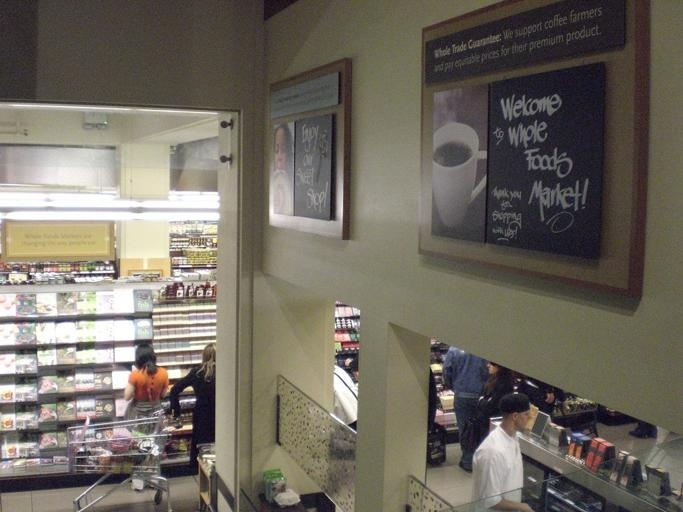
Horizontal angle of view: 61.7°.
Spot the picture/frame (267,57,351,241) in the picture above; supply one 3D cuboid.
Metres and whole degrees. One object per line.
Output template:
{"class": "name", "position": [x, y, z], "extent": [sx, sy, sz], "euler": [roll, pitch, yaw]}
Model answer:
{"class": "picture/frame", "position": [-0.190, -0.688, 3.649], "extent": [0.063, 1.102, 1.237], "euler": [0, 2, -21]}

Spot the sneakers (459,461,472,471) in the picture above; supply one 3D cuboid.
{"class": "sneakers", "position": [1.381, 2.328, 6.327], "extent": [0.087, 0.135, 0.133], "euler": [-3, 4, -22]}

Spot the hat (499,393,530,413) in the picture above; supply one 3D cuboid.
{"class": "hat", "position": [1.254, 1.046, 4.079], "extent": [0.165, 0.100, 0.126], "euler": [-9, 12, -16]}
